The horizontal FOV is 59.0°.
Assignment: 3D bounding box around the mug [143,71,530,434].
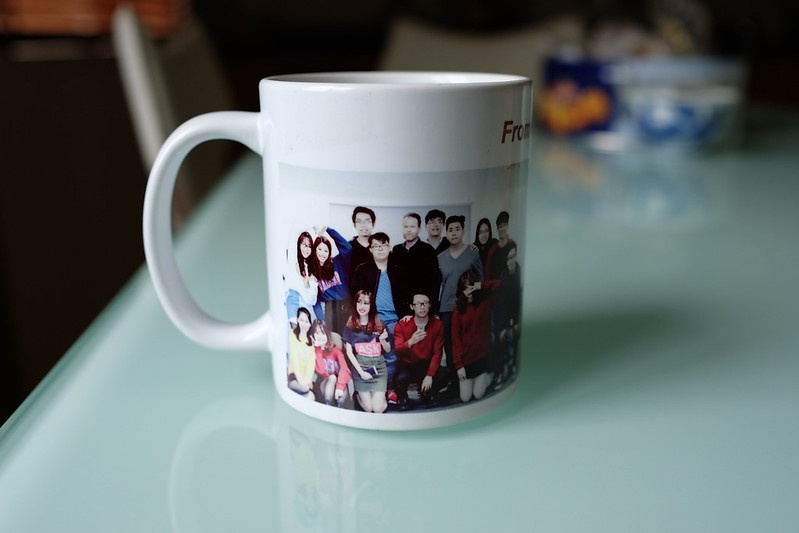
[{"bbox_3d":[-0.047,-0.018,0.519,0.275,0.238,0.176,-1,13,-6],"label":"mug"}]
